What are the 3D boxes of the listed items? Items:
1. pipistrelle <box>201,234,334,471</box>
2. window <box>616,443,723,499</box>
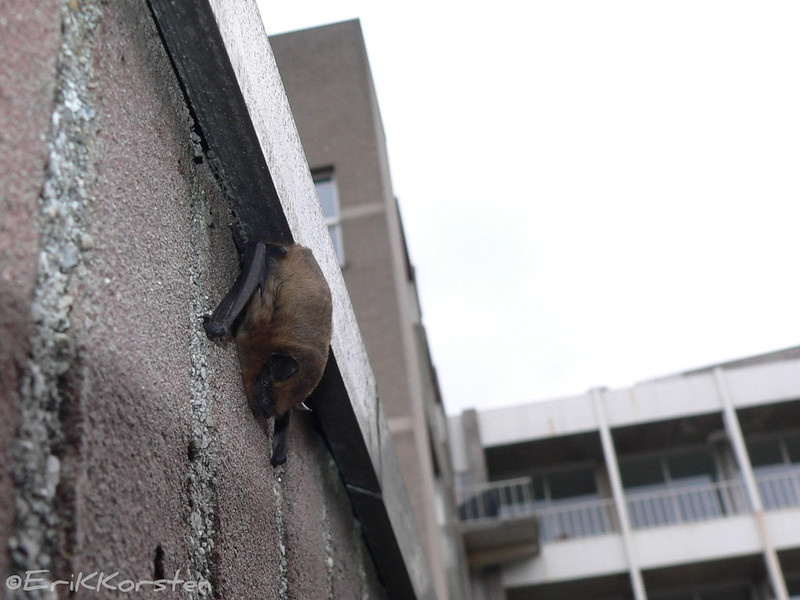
[{"bbox_3d":[-0.373,0.130,2.944,0.186,0.696,0.562,-8,-60,17],"label":"pipistrelle"},{"bbox_3d":[5.105,3.232,17.645,1.489,0.435,0.831,-9,19,9],"label":"window"}]
